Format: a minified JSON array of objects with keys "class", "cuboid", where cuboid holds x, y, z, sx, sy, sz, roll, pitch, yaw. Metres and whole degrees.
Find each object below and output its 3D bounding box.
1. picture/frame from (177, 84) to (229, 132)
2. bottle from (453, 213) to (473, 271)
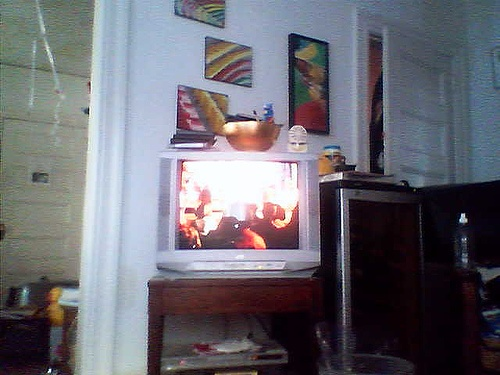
[{"class":"picture/frame","cuboid":[-0.263,-0.423,3.463,0.502,0.229,0.041,2,-10,-22]},{"class":"bottle","cuboid":[1.016,0.252,3.066,0.055,0.261,0.137,2,-2,-10]}]
